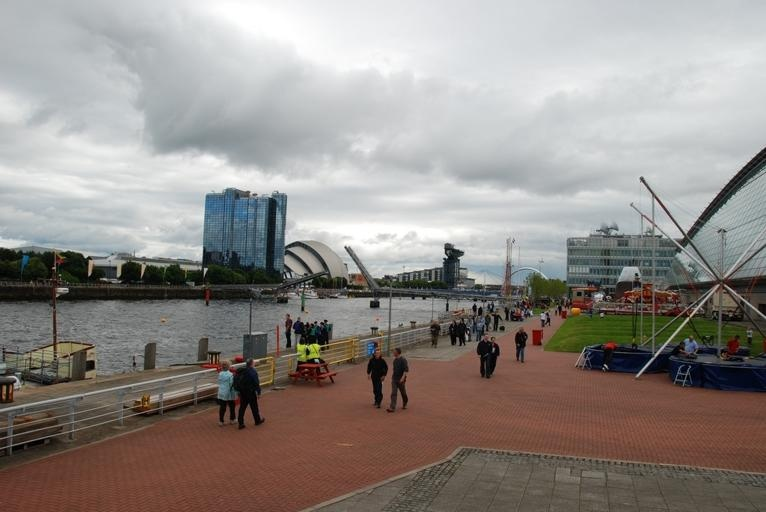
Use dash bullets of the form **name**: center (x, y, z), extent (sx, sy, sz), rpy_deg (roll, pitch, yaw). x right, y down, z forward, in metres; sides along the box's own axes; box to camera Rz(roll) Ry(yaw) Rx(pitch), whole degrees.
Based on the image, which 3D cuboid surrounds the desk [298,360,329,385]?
- **desk**: center (-2.948, 4.793, 22.939), extent (1.085, 0.527, 1.055), rpy_deg (0, -1, 21)

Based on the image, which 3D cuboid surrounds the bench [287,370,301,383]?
- **bench**: center (-3.612, 5.072, 23.185), extent (0.609, 0.628, 0.463), rpy_deg (-5, -6, 24)

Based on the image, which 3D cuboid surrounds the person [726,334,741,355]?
- **person**: center (17.239, 4.469, 27.591), extent (0.418, 0.905, 1.397), rpy_deg (-2, -2, 36)
